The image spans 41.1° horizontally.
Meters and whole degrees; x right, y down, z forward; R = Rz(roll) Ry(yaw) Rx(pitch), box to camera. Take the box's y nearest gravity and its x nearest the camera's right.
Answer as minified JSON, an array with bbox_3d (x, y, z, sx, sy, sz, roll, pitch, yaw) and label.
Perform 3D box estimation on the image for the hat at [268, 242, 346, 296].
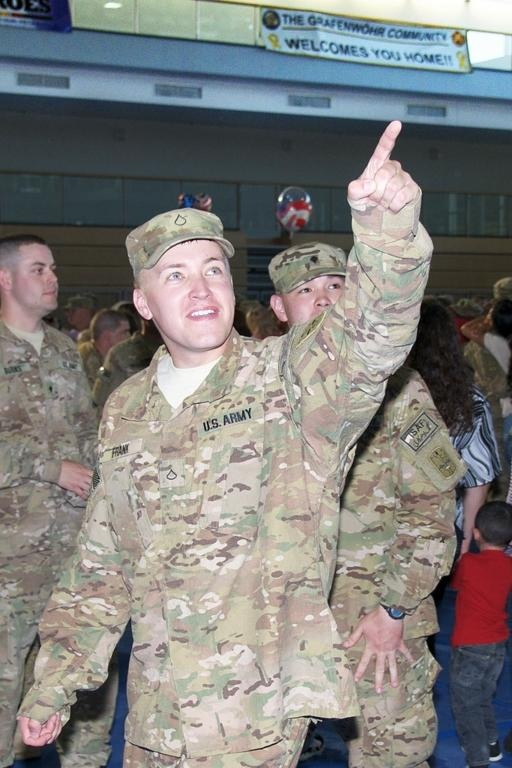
[{"bbox_3d":[0.145,-0.346,2.051,0.174,0.095,0.206,-5,-2,-7],"label":"hat"}]
